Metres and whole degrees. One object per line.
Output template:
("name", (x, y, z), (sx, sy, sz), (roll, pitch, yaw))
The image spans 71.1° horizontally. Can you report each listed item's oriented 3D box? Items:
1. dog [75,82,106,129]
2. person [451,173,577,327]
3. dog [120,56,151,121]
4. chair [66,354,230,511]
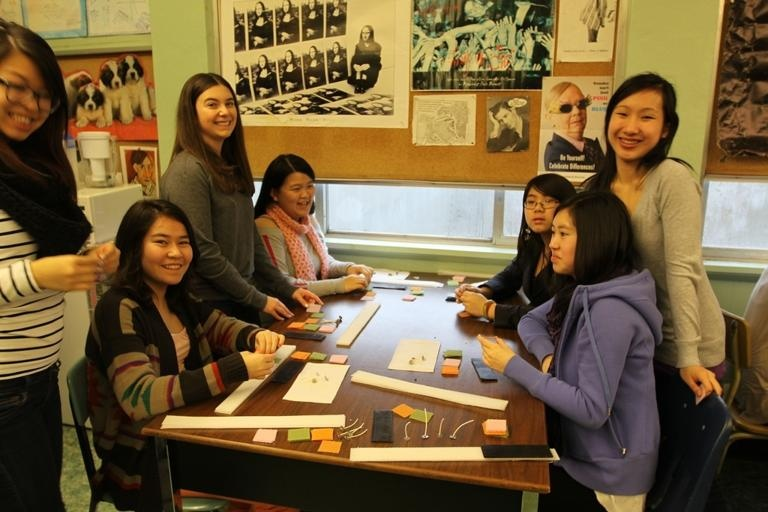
("dog", (-2.240, -1.156, 4.156), (0.275, 0.305, 0.502), (-2, 18, -28))
("person", (0.749, -0.019, 2.778), (0.715, 0.725, 0.485), (-3, 5, -25))
("dog", (-1.753, -1.221, 3.944), (0.167, 0.539, 0.234), (-7, 19, -9))
("chair", (-1.035, 0.652, 2.468), (0.527, 0.864, 0.532), (0, 11, -2))
